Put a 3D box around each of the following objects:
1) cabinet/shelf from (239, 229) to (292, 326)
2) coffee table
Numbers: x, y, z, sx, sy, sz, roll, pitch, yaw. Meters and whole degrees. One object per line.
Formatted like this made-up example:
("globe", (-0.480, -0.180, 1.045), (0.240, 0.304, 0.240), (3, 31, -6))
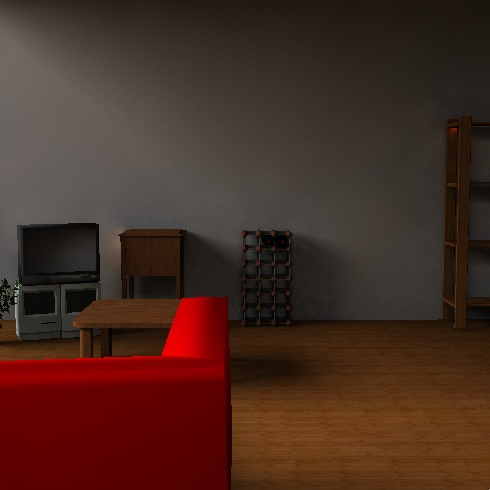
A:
("cabinet/shelf", (0.215, 0.326, 5.328), (0.784, 1.274, 0.770), (0, -2, -1))
("coffee table", (-0.750, 0.104, 4.706), (0.768, 0.880, 0.555), (0, -1, -3))
